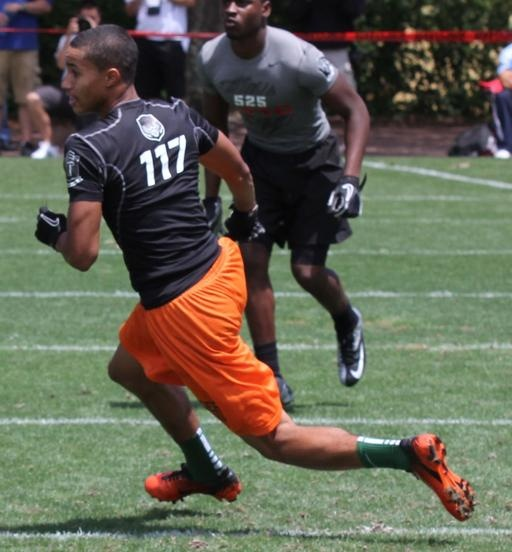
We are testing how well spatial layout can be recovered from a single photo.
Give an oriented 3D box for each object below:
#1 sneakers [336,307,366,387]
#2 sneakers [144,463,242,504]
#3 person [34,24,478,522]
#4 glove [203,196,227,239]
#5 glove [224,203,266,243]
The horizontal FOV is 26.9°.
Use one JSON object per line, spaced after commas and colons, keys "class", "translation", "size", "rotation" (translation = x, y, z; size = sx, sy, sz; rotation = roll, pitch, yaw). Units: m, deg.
{"class": "sneakers", "translation": [0.514, 0.364, 5.526], "size": [0.138, 0.395, 0.166], "rotation": [-5, -6, 21]}
{"class": "sneakers", "translation": [-0.247, 0.813, 4.388], "size": [0.426, 0.203, 0.150], "rotation": [3, 8, 2]}
{"class": "person", "translation": [-0.148, -0.101, 4.001], "size": [1.329, 1.629, 0.709], "rotation": [-1, 11, -10]}
{"class": "glove", "translation": [-0.194, -0.276, 5.163], "size": [0.058, 0.138, 0.150], "rotation": [1, -6, -42]}
{"class": "glove", "translation": [-0.051, -0.214, 4.594], "size": [0.185, 0.140, 0.197], "rotation": [5, -14, 3]}
